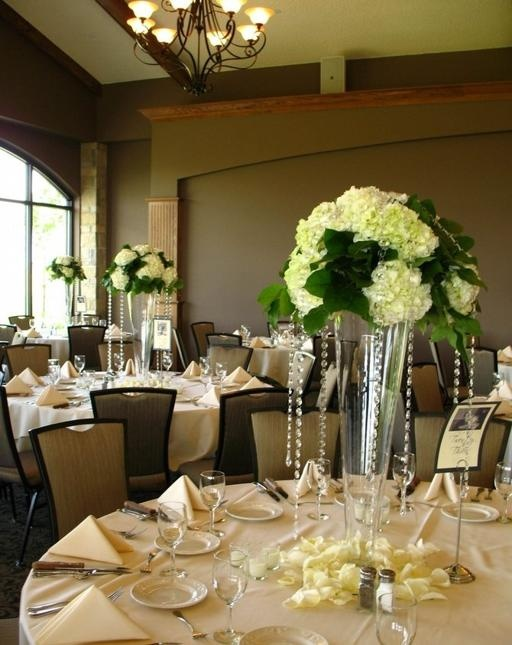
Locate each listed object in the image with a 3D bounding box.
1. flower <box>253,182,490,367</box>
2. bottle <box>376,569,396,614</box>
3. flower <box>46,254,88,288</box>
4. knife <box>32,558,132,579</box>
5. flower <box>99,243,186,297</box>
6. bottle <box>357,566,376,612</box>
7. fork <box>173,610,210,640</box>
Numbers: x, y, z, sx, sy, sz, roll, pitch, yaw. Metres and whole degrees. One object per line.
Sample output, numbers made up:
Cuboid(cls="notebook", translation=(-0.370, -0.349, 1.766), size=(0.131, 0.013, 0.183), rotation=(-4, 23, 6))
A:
Cuboid(cls="flower", translation=(0.259, -0.093, 1.218), size=(0.440, 0.323, 0.418), rotation=(0, 5, 2))
Cuboid(cls="bottle", translation=(0.212, 0.444, 0.848), size=(0.029, 0.075, 0.024), rotation=(1, 7, -2))
Cuboid(cls="flower", translation=(-3.167, -0.868, 8.747), size=(0.605, 0.416, 0.592), rotation=(5, 3, 19))
Cuboid(cls="knife", translation=(-0.403, 0.574, 1.201), size=(0.180, 0.019, 0.039), rotation=(4, 9, -8))
Cuboid(cls="flower", translation=(-0.746, -0.352, 3.581), size=(0.429, 0.283, 0.420), rotation=(2, 3, 14))
Cuboid(cls="bottle", translation=(0.229, 0.538, 1.058), size=(0.034, 0.090, 0.045), rotation=(2, 3, 12))
Cuboid(cls="fork", translation=(-0.122, 0.566, 0.960), size=(0.025, 0.016, 0.116), rotation=(1, -5, -27))
